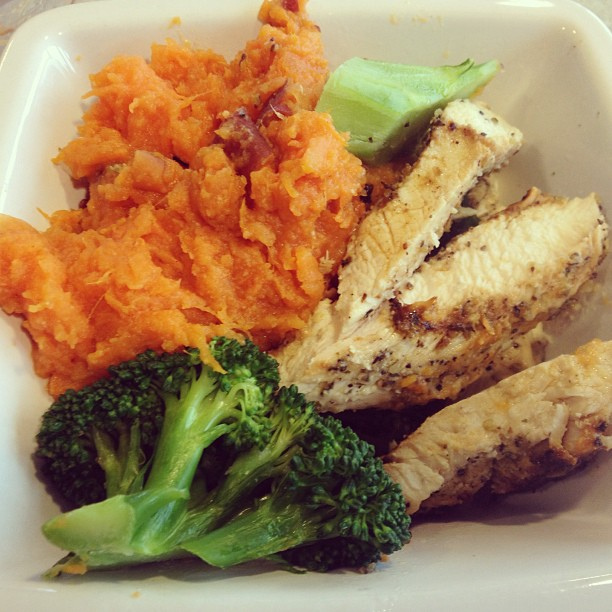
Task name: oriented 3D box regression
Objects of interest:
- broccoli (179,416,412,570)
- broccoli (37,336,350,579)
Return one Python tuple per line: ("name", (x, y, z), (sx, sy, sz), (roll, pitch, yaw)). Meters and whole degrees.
("broccoli", (0.040, 0.519, 2.218), (0.855, 0.362, 0.513), (2, 20, 6))
("broccoli", (-0.393, 0.404, 2.134), (0.946, 0.309, 0.666), (-12, 25, -29))
